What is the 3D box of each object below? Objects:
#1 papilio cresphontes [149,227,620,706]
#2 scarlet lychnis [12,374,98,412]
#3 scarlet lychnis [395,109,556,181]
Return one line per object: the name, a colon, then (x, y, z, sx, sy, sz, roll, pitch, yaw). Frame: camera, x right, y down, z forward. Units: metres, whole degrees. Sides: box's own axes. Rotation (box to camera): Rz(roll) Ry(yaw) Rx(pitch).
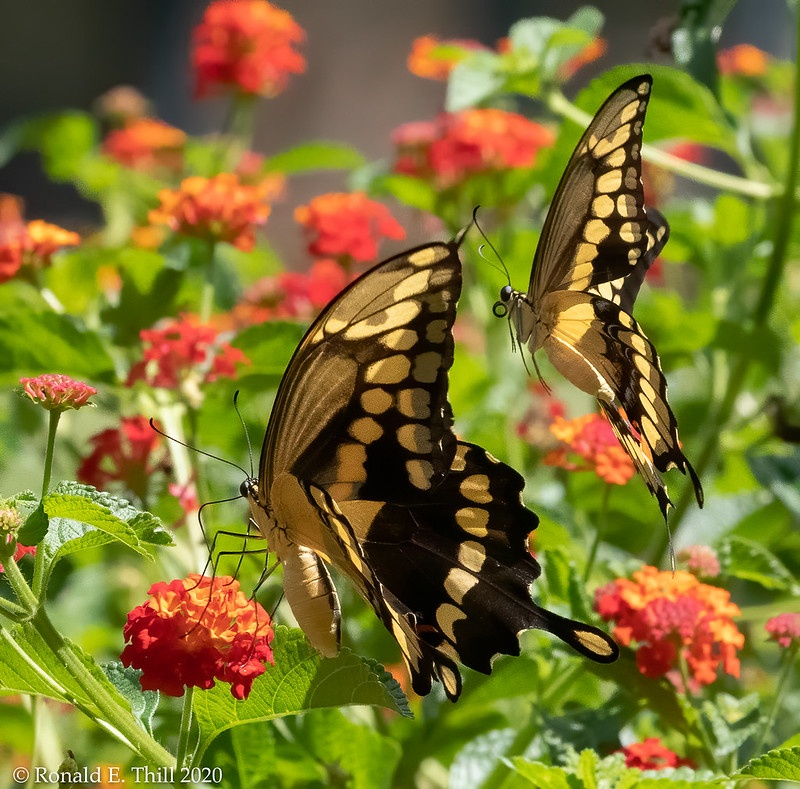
papilio cresphontes: (0.005, 0.177, 2.160, 0.611, 0.868, 0.299, -12, 0, 19)
scarlet lychnis: (-0.613, -0.009, 2.134, 0.096, 0.040, 0.086, 10, 3, -1)
scarlet lychnis: (0.187, -0.707, 3.293, 0.308, 0.082, 0.298, 10, 28, 34)
